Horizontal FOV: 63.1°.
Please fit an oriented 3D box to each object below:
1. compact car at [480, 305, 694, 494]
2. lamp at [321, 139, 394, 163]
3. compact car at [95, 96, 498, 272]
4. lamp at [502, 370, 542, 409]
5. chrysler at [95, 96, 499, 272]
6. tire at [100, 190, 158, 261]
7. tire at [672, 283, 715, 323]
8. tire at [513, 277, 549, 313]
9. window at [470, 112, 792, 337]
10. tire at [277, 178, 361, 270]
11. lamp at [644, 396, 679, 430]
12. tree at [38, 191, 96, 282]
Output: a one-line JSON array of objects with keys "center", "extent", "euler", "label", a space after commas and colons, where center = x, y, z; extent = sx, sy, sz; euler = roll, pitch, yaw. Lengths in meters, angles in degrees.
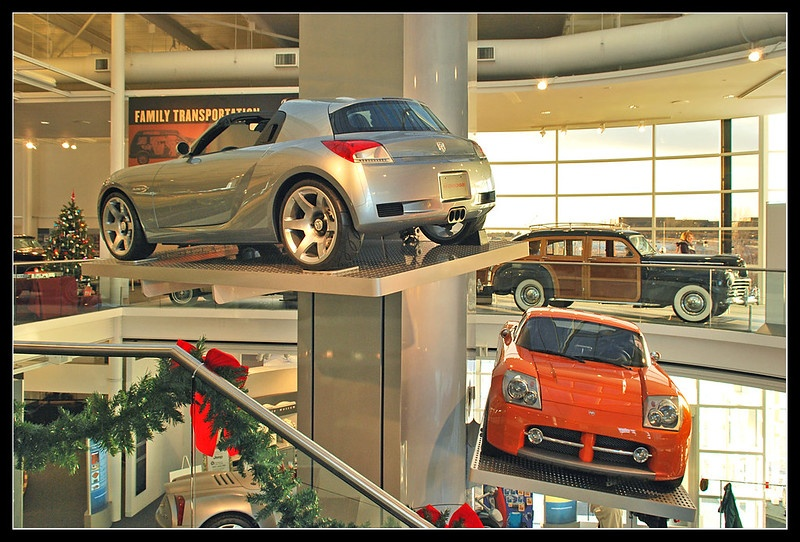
[{"center": [1.913, 1.138, 6.750], "extent": [1.220, 0.784, 2.417], "euler": [8, 3, 11], "label": "compact car"}, {"center": [-0.265, -0.752, 4.076], "extent": [0.318, 0.095, 0.188], "euler": [4, 21, -3], "label": "lamp"}, {"center": [-0.909, -0.602, 4.691], "extent": [2.436, 0.828, 1.394], "euler": [6, 9, 28], "label": "compact car"}, {"center": [1.138, 1.106, 6.059], "extent": [0.342, 0.248, 0.155], "euler": [9, 1, 22], "label": "lamp"}, {"center": [-0.827, -0.658, 4.697], "extent": [2.434, 0.836, 1.394], "euler": [6, 9, 28], "label": "chrysler"}, {"center": [-2.092, -0.354, 5.043], "extent": [0.548, 0.555, 0.195], "euler": [1, 7, 38], "label": "tire"}, {"center": [4.395, 0.444, 9.664], "extent": [0.548, 0.557, 0.200], "euler": [3, 9, 25], "label": "tire"}, {"center": [2.135, 0.348, 10.495], "extent": [0.560, 0.569, 0.203], "euler": [2, 7, 25], "label": "tire"}, {"center": [4.648, -1.033, 12.164], "extent": [0.061, 2.871, 4.633], "euler": [-1, 2, -44], "label": "window"}, {"center": [-0.485, -0.299, 4.076], "extent": [0.535, 0.545, 0.193], "euler": [5, 7, 38], "label": "tire"}, {"center": [2.364, 1.275, 5.912], "extent": [0.297, 0.279, 0.072], "euler": [-2, -8, 0], "label": "lamp"}, {"center": [-5.730, -0.559, 11.274], "extent": [0.744, 1.498, 1.366], "euler": [-3, 5, -25], "label": "tree"}]
